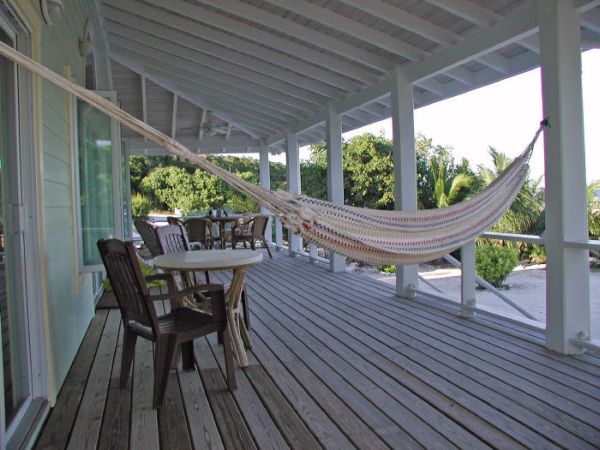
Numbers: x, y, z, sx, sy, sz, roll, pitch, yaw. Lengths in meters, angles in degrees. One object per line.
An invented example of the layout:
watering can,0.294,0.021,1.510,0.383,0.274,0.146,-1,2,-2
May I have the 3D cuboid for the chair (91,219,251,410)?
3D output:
chair,-1.016,0.551,3.718,1.064,1.585,1.011,-3,3,-36
